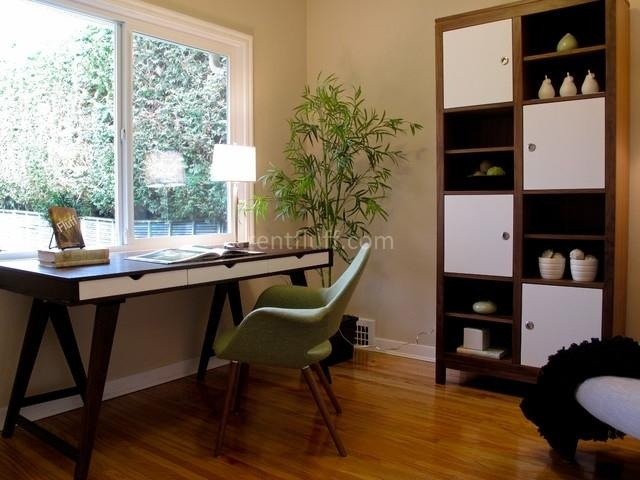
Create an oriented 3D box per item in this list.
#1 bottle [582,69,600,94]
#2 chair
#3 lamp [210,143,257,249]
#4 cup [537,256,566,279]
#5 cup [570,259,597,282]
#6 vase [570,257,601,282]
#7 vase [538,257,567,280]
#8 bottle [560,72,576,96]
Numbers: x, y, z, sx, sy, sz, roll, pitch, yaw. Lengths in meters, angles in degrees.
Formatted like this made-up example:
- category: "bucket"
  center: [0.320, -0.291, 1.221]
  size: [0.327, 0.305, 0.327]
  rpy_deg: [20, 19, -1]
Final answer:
- category: "bottle"
  center: [1.600, -0.934, 2.798]
  size: [0.087, 0.173, 0.230]
  rpy_deg: [3, 7, 29]
- category: "chair"
  center: [-0.133, 0.536, 2.521]
  size: [0.745, 1.000, 0.682]
  rpy_deg: [1, 6, 12]
- category: "lamp"
  center: [-0.594, -0.320, 3.311]
  size: [0.292, 0.708, 0.497]
  rpy_deg: [-1, 6, -10]
- category: "cup"
  center: [1.421, 0.167, 2.903]
  size: [0.132, 0.115, 0.133]
  rpy_deg: [0, 0, 0]
- category: "cup"
  center: [1.561, 0.188, 2.816]
  size: [0.128, 0.117, 0.137]
  rpy_deg: [0, -6, 0]
- category: "vase"
  center: [1.568, 0.173, 2.807]
  size: [0.134, 0.120, 0.145]
  rpy_deg: [0, -5, 0]
- category: "vase"
  center: [1.437, 0.170, 2.932]
  size: [0.127, 0.107, 0.136]
  rpy_deg: [1, -2, -7]
- category: "bottle"
  center: [1.489, -0.921, 2.817]
  size: [0.073, 0.138, 0.094]
  rpy_deg: [-4, 7, -33]
